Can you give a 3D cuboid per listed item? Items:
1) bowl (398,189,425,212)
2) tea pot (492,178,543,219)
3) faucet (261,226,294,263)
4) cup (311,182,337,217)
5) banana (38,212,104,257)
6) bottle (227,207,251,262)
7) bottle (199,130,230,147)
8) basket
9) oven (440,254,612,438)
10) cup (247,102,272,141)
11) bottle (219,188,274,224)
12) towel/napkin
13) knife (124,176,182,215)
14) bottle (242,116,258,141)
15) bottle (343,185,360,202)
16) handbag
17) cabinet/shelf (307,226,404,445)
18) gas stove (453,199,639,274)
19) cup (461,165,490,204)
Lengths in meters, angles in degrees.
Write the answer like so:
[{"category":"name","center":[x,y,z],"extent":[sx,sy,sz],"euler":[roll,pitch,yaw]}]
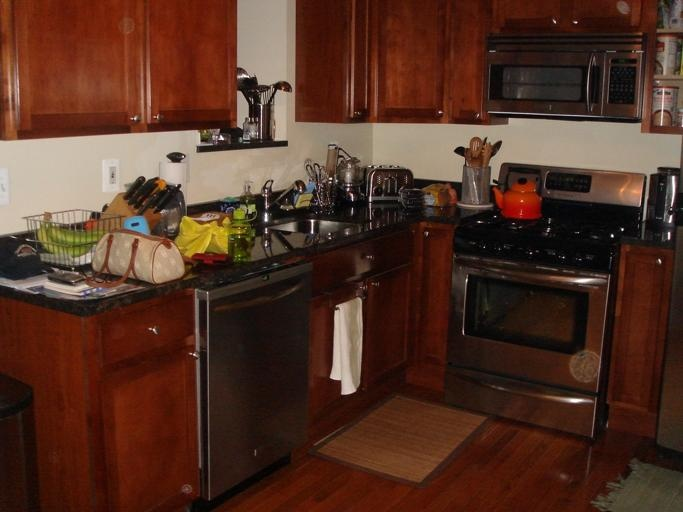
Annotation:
[{"category":"bowl","center":[0.472,-0.360,3.724],"extent":[0.146,0.126,0.143],"euler":[0,17,0]},{"category":"tea pot","center":[1.119,-0.357,3.643],"extent":[0.306,0.204,0.222],"euler":[14,24,34]},{"category":"faucet","center":[-0.322,-0.056,2.810],"extent":[0.128,0.044,0.193],"euler":[-17,37,-30]},{"category":"cup","center":[-0.101,-0.352,3.578],"extent":[0.139,0.225,0.068],"euler":[1,-6,-9]},{"category":"banana","center":[-1.152,-0.071,2.405],"extent":[0.247,0.136,0.236],"euler":[-1,12,-26]},{"category":"bottle","center":[-0.459,-0.104,2.571],"extent":[0.106,0.212,0.211],"euler":[-2,15,-10]},{"category":"bottle","center":[-0.741,-0.663,3.283],"extent":[0.199,0.099,0.124],"euler":[-2,8,-40]},{"category":"basket","center":[-1.187,-0.100,2.465],"extent":[0.284,0.180,0.363],"euler":[-9,23,-37]},{"category":"oven","center":[1.057,0.378,3.683],"extent":[1.144,1.327,0.898],"euler":[8,14,33]},{"category":"cup","center":[-0.480,-0.797,3.419],"extent":[0.151,0.221,0.072],"euler":[-2,15,-10]},{"category":"bottle","center":[-0.518,-0.283,3.280],"extent":[0.277,0.281,0.164],"euler":[5,7,7]},{"category":"towel/napkin","center":[0.055,0.478,3.045],"extent":[0.130,0.520,0.255],"euler":[13,19,38]},{"category":"knife","center":[-0.898,-0.293,2.678],"extent":[0.220,0.088,0.165],"euler":[-37,-31,31]},{"category":"bottle","center":[-0.542,-0.759,3.415],"extent":[0.101,0.173,0.095],"euler":[2,20,-1]},{"category":"bottle","center":[0.075,-0.409,3.729],"extent":[0.113,0.091,0.090],"euler":[6,15,39]},{"category":"handbag","center":[-0.789,-0.063,2.170],"extent":[0.304,0.165,0.215],"euler":[10,11,29]},{"category":"cabinet/shelf","center":[0.066,0.428,3.106],"extent":[0.374,0.848,0.991],"euler":[6,17,26]},{"category":"gas stove","center":[1.045,-0.131,3.401],"extent":[0.961,0.315,0.857],"euler":[8,16,7]},{"category":"cup","center":[0.871,-0.478,3.759],"extent":[0.231,0.262,0.234],"euler":[0,15,0]}]
